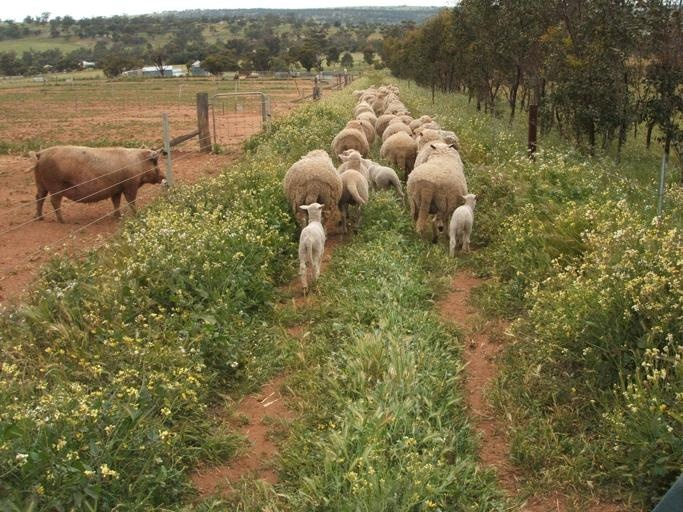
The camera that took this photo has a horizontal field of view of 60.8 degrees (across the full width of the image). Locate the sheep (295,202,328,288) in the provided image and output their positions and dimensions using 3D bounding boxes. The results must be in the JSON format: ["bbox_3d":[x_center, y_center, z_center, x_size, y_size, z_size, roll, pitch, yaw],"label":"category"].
[{"bbox_3d":[-0.556,-0.222,10.705,0.508,1.409,1.290,-3,14,-2],"label":"sheep"}]

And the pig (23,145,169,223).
[{"bbox_3d":[-5.918,-1.821,14.540,1.034,1.841,3.367,13,14,40],"label":"pig"}]
